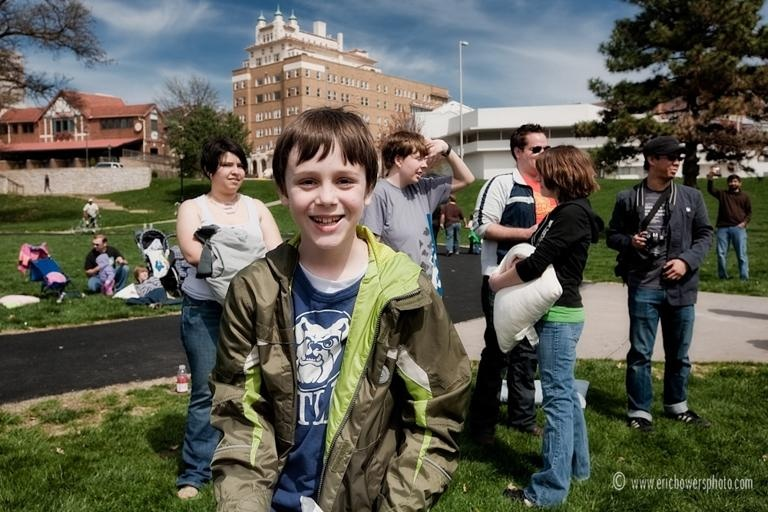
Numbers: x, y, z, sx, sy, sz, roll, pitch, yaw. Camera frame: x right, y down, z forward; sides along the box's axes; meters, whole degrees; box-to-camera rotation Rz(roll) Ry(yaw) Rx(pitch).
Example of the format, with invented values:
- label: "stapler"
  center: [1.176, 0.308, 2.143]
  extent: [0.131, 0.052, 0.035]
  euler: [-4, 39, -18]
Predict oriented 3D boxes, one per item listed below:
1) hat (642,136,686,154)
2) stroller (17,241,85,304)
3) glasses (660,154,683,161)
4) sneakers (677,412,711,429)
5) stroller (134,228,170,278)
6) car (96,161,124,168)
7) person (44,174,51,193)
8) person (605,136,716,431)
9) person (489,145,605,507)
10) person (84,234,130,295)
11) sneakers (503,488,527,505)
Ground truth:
- label: "hat"
  center: [3.611, -1.415, 8.957]
  extent: [0.269, 0.156, 0.372]
  euler: [-8, 5, -44]
- label: "stroller"
  center: [-7.877, 0.327, 15.974]
  extent: [0.932, 1.255, 1.994]
  euler: [-4, 8, -37]
- label: "glasses"
  center: [3.761, -1.270, 8.923]
  extent: [0.132, 0.042, 0.137]
  euler: [3, -12, -5]
- label: "sneakers"
  center: [4.049, 2.148, 9.053]
  extent: [0.149, 0.157, 0.406]
  euler: [-20, 11, -42]
- label: "stroller"
  center: [-5.216, -0.030, 15.434]
  extent: [0.728, 1.363, 0.480]
  euler: [-8, 5, 0]
- label: "car"
  center: [-24.995, -8.303, 62.931]
  extent: [2.094, 0.737, 6.873]
  euler: [-2, 7, -21]
- label: "person"
  center: [-30.103, -6.472, 61.616]
  extent: [0.536, 1.654, 2.131]
  euler: [-3, 7, -27]
- label: "person"
  center: [3.591, 0.338, 9.086]
  extent: [1.228, 3.769, 0.817]
  euler: [2, 6, 19]
- label: "person"
  center: [1.926, 0.754, 7.993]
  extent: [0.834, 4.051, 1.127]
  euler: [6, 8, 43]
- label: "person"
  center: [-6.808, 0.212, 16.794]
  extent: [0.987, 1.394, 1.047]
  euler: [8, 21, 16]
- label: "sneakers"
  center: [1.502, 2.740, 7.869]
  extent: [0.124, 0.061, 0.192]
  euler: [19, -2, -9]
